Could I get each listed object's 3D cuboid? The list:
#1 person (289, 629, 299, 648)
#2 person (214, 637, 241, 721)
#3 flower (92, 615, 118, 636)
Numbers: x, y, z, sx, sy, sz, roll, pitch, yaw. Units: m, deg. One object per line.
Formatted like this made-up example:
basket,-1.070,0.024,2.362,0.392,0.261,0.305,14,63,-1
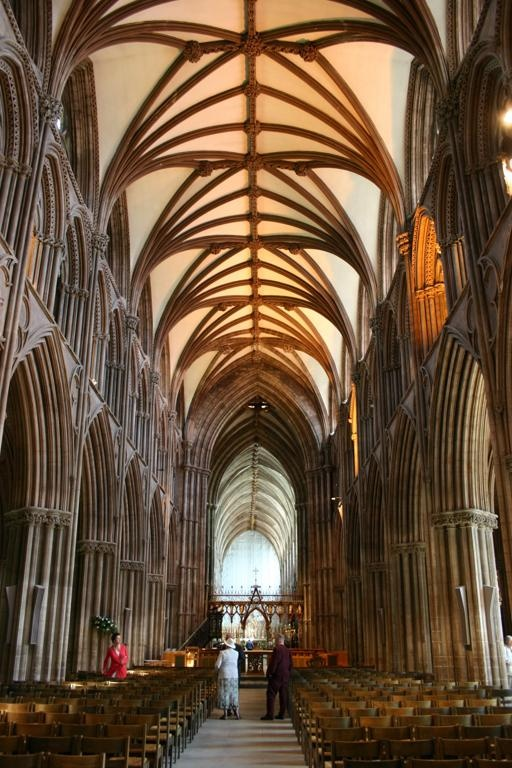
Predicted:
person,2.262,15.140,32.659,0.497,0.953,1.437,-1,-25,4
person,-0.535,5.634,10.524,0.419,1.361,1.099,2,-23,-4
flower,-3.935,6.276,14.256,0.622,0.454,0.825,9,-27,-19
